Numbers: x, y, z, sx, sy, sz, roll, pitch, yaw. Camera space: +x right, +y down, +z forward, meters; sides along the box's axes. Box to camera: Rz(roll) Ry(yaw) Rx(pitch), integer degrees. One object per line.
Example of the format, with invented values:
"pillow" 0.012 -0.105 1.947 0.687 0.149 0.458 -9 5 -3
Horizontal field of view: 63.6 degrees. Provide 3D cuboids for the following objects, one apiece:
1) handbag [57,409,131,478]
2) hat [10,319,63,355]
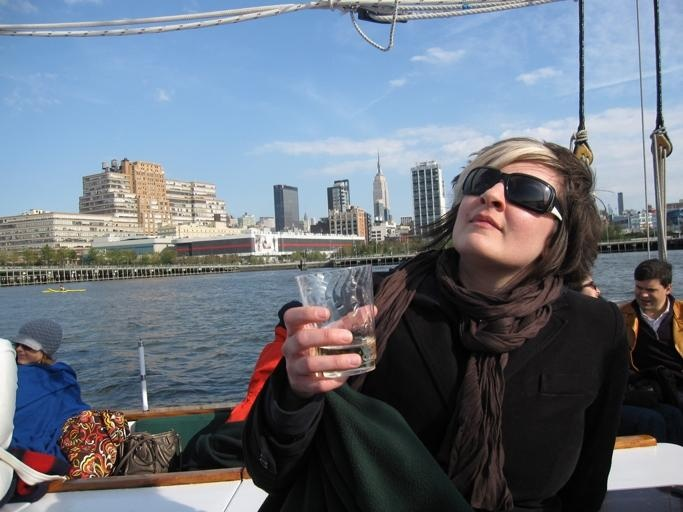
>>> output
"handbag" -1.958 1.472 4.396 0.352 0.534 0.553 -3 1 13
"hat" -2.576 0.661 4.713 0.286 0.290 0.409 12 -5 39
